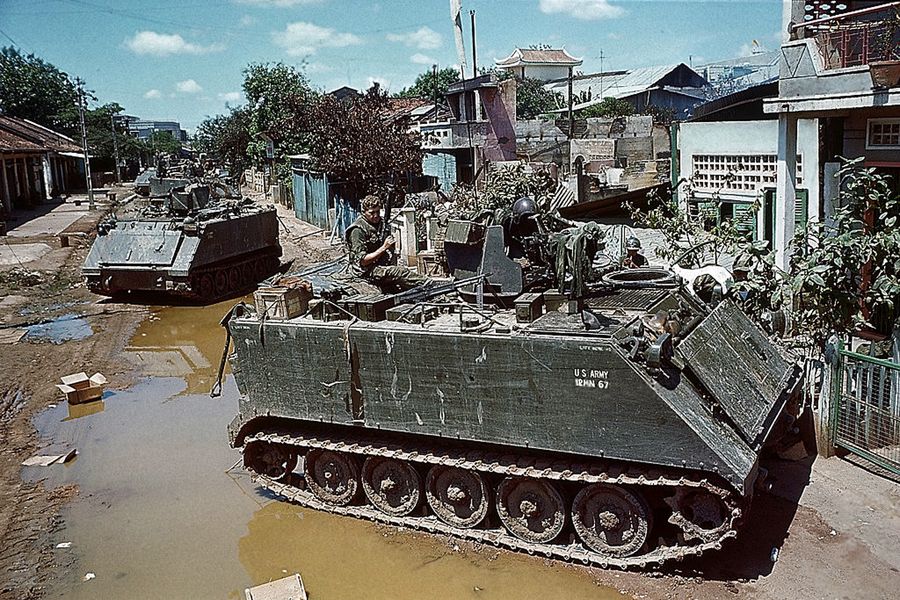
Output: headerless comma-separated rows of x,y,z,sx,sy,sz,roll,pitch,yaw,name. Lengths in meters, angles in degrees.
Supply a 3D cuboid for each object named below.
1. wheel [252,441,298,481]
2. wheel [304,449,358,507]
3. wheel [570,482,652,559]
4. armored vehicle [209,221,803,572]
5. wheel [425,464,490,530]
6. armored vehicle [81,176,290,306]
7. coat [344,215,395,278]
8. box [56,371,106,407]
-2.579,2.337,9.906,0.516,0.611,0.186,3,12,16,wheel
-1.636,2.482,9.494,0.707,0.835,0.152,6,18,27,wheel
2.026,2.617,8.460,0.788,0.929,0.851,12,6,-1,wheel
0.933,1.323,10.043,6.357,3.926,4.669,2,12,20,armored vehicle
0.128,2.562,8.834,0.769,0.909,0.192,3,8,26,wheel
-8.198,-2.074,22.299,3.523,3.984,6.903,1,10,14,armored vehicle
-1.348,-0.857,11.022,0.711,1.113,1.058,1,3,13,coat
-7.410,1.782,13.696,0.910,0.351,1.067,-10,15,-30,box
